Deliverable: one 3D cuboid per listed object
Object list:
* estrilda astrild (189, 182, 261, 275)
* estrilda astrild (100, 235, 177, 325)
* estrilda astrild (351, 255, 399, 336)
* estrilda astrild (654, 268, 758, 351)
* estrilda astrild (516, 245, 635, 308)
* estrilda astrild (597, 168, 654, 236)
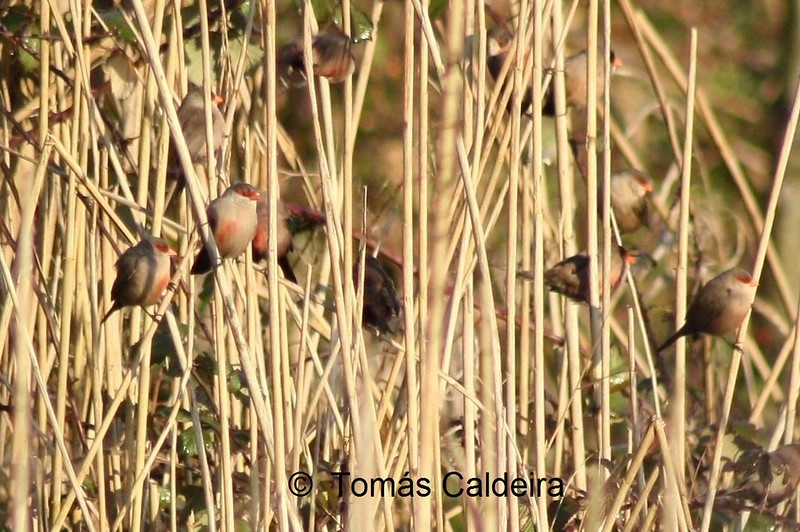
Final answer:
[{"bbox_3d":[-0.687,-0.152,5.861,0.269,0.216,0.377,6,93,36],"label":"estrilda astrild"},{"bbox_3d":[-1.035,0.061,5.837,0.296,0.195,0.368,-3,83,7],"label":"estrilda astrild"},{"bbox_3d":[-0.093,0.123,6.152,0.117,0.156,0.421,-5,111,-3],"label":"estrilda astrild"},{"bbox_3d":[1.293,0.181,6.197,0.427,0.232,0.352,-1,100,24],"label":"estrilda astrild"},{"bbox_3d":[0.738,0.044,6.256,0.612,0.213,0.308,0,71,-12],"label":"estrilda astrild"},{"bbox_3d":[1.015,-0.298,6.646,0.187,0.307,0.254,10,103,-6],"label":"estrilda astrild"}]
